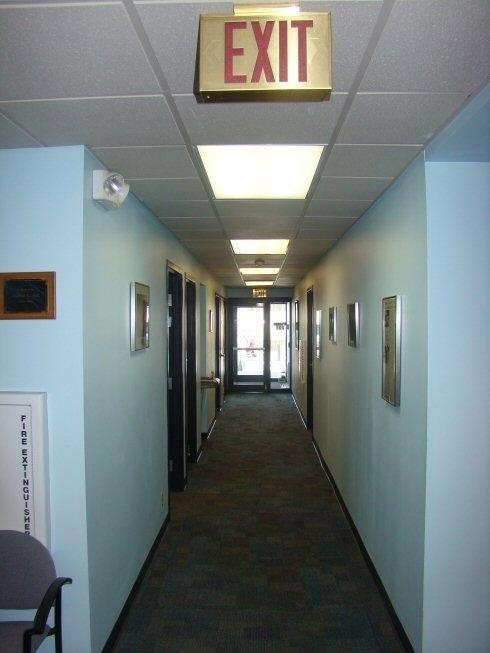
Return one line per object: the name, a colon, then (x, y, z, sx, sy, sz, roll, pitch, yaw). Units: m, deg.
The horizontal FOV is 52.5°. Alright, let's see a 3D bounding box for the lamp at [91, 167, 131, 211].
lamp: (-0.629, -0.635, 2.304, 0.135, 0.146, 0.189, -1, 2, 1)
